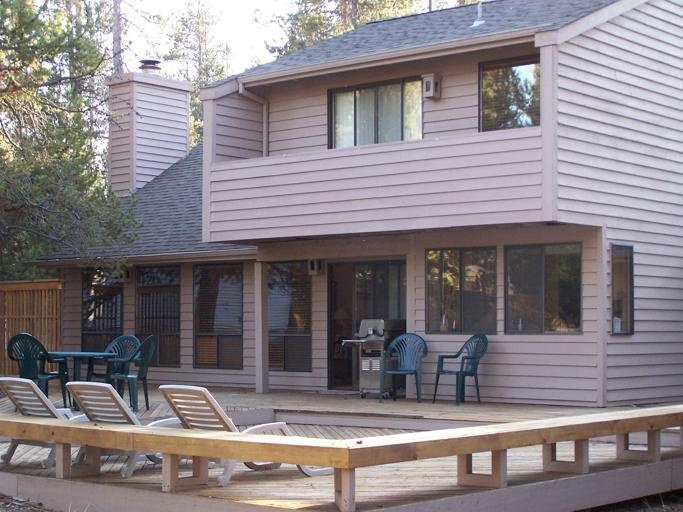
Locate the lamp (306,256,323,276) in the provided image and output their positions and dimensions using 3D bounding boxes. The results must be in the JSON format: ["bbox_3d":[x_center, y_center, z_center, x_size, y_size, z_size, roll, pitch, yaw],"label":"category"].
[{"bbox_3d":[-0.547,0.217,16.826,0.252,0.384,0.361,1,-2,-43],"label":"lamp"}]

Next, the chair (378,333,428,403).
[{"bbox_3d":[1.063,1.915,15.085,0.824,1.155,1.169,-2,-5,4],"label":"chair"}]
